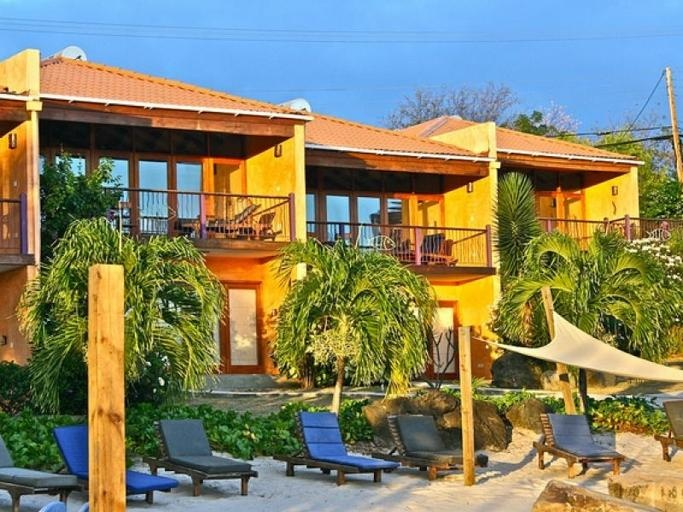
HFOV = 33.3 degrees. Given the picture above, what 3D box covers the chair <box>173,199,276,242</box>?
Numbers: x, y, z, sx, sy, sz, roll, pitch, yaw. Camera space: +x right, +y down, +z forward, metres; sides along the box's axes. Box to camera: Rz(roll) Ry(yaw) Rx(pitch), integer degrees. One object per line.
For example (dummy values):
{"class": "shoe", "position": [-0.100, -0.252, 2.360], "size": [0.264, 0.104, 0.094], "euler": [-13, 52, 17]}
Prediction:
{"class": "chair", "position": [-2.907, -0.785, 28.933], "size": [1.738, 0.707, 1.350], "euler": [2, -3, -15]}
